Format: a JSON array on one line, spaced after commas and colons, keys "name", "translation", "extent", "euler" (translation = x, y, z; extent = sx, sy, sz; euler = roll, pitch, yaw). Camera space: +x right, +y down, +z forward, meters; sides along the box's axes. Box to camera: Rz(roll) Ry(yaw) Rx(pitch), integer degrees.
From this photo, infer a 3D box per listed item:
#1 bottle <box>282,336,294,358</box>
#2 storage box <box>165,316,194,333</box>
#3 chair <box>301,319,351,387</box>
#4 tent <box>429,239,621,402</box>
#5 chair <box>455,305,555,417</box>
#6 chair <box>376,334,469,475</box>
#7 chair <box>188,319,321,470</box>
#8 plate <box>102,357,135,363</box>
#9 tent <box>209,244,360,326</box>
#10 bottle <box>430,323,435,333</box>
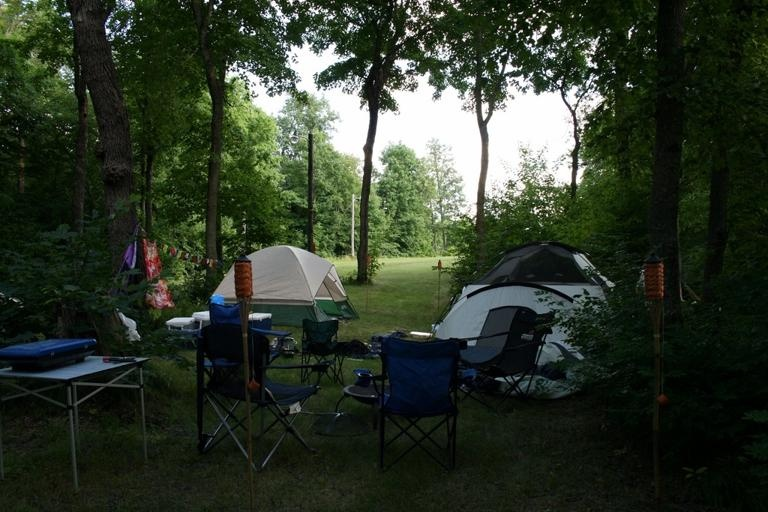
[{"name": "bottle", "translation": [-1.874, 1.802, 13.698], "extent": [0.270, 0.368, 0.354], "euler": [2, 3, 0]}, {"name": "storage box", "translation": [-3.974, 1.347, 13.519], "extent": [0.516, 0.152, 0.470], "euler": [0, 5, 5]}, {"name": "chair", "translation": [-1.095, 1.739, 11.946], "extent": [0.965, 1.173, 0.785], "euler": [0, 6, -19]}, {"name": "tent", "translation": [2.537, 0.906, 12.468], "extent": [2.772, 1.232, 2.811], "euler": [0, 1, 33]}, {"name": "chair", "translation": [2.013, 1.583, 11.533], "extent": [1.804, 1.657, 1.211], "euler": [0, -6, -36]}, {"name": "chair", "translation": [0.509, 2.040, 10.119], "extent": [1.614, 2.361, 1.555], "euler": [1, -5, 1]}, {"name": "chair", "translation": [-1.728, 1.862, 9.799], "extent": [1.461, 1.835, 1.556], "euler": [1, 0, 31]}, {"name": "plate", "translation": [-3.494, 1.368, 9.130], "extent": [0.277, 0.049, 0.150], "euler": [1, -4, -4]}, {"name": "tent", "translation": [-2.483, 0.602, 16.889], "extent": [3.035, 1.691, 3.064], "euler": [-2, 1, 21]}, {"name": "bottle", "translation": [1.110, 1.624, 15.684], "extent": [0.078, 0.198, 0.148], "euler": [5, -11, -7]}]
